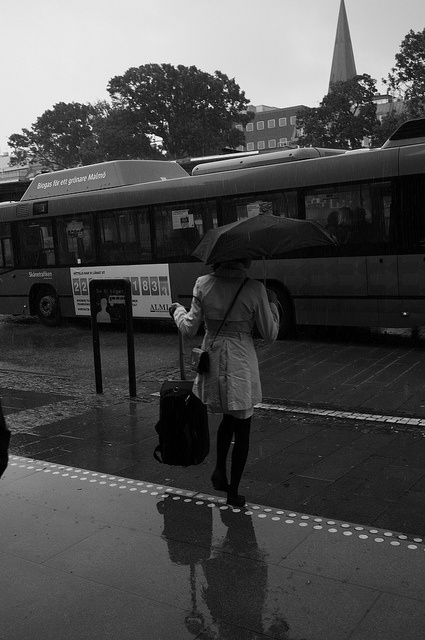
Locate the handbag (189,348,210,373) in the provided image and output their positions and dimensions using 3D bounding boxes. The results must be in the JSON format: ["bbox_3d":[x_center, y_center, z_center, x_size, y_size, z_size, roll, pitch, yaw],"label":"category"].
[{"bbox_3d":[-0.093,0.258,3.776,0.099,0.165,0.163,-7,7,-34],"label":"handbag"}]

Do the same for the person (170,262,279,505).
[{"bbox_3d":[0.097,0.409,3.851,0.644,1.543,0.416,-1,6,13],"label":"person"}]
